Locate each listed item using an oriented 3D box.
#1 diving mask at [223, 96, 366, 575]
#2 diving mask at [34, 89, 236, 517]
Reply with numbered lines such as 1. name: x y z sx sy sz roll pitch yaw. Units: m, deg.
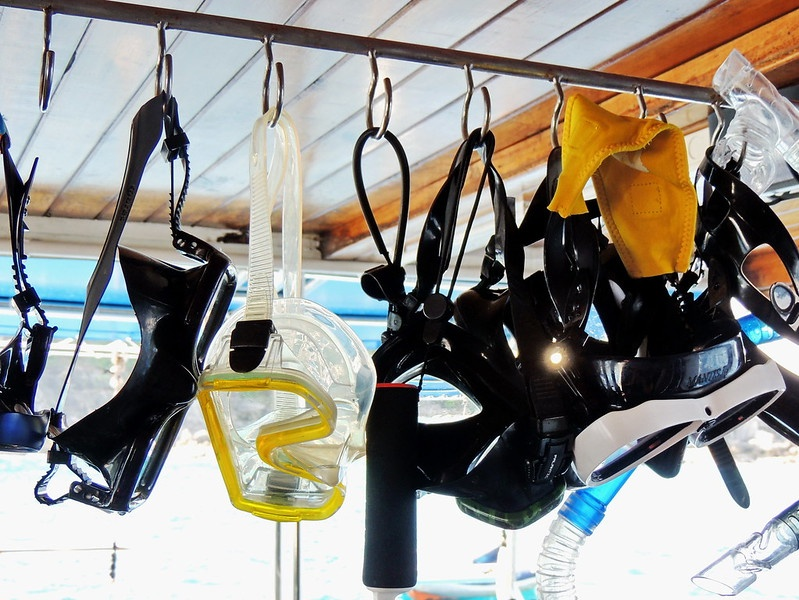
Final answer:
1. diving mask: -0.118 0.021 0.993 0.186 0.478 0.268 4 -8 -2
2. diving mask: -0.288 0.003 0.933 0.182 0.471 0.140 7 -9 -24
